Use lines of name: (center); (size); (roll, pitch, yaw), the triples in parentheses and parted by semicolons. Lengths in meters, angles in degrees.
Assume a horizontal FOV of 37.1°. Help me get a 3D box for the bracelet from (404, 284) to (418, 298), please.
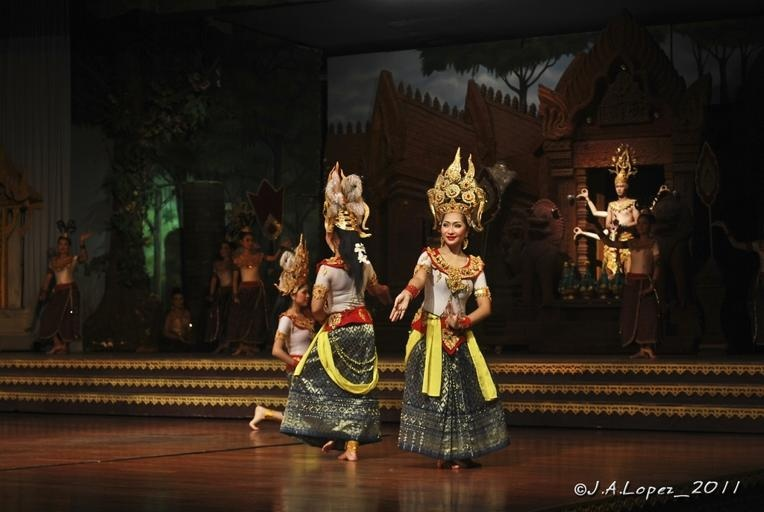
bracelet: (0.284, 0.322, 10.441); (0.114, 0.112, 0.088); (-2, -45, 35)

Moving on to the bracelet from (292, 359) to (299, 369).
bracelet: (-0.830, 1.061, 11.197); (0.036, 0.090, 0.073); (12, 0, -35)

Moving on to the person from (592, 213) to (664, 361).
person: (3.039, 0.326, 13.300); (0.444, 1.715, 0.492); (1, -4, 15)

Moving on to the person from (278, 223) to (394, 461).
person: (-0.409, 0.791, 10.828); (0.941, 2.106, 0.300); (3, -4, -6)

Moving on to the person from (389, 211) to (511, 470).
person: (0.693, 0.733, 10.573); (0.950, 2.325, 0.282); (2, -4, 0)

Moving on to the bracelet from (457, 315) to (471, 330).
bracelet: (0.771, 0.620, 10.590); (0.109, 0.102, 0.123); (-2, 16, -11)

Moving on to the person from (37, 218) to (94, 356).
person: (-4.179, 0.385, 14.928); (0.614, 1.777, 1.323); (3, -4, -16)

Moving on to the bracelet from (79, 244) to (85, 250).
bracelet: (-3.918, -0.118, 14.903); (0.076, 0.050, 0.073); (-3, -8, 23)
